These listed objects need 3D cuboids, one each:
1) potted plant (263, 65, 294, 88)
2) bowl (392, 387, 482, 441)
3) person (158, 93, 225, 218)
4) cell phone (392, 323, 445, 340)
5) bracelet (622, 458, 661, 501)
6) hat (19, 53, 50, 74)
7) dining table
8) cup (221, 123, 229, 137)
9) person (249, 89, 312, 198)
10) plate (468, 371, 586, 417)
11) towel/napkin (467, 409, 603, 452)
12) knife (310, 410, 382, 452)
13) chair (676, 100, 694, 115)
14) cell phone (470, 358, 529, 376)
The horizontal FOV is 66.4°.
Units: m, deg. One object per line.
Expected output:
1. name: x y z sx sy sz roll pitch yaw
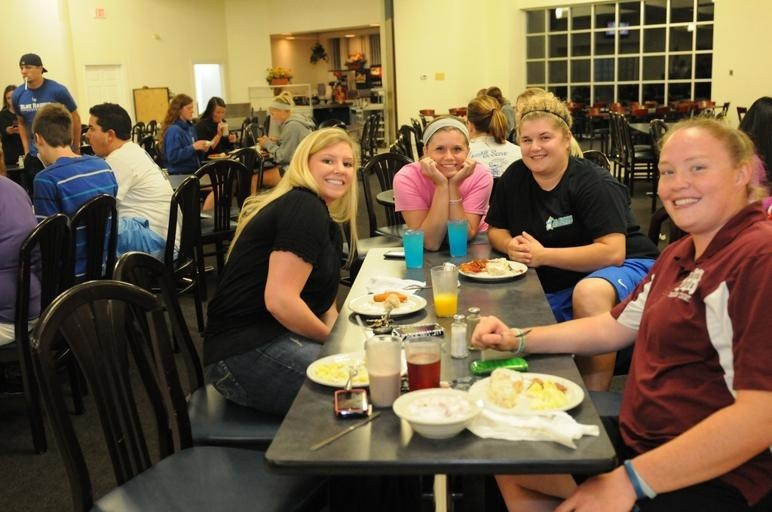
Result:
1. potted plant: -2.225 -3.747 12.257 0.423 0.376 1.225 -4 16 -10
2. bowl: 0.118 0.380 1.409 0.200 0.074 0.137 -1 16 -1
3. person: -2.265 -1.169 7.028 0.797 1.408 0.660 4 19 1
4. cell phone: 0.098 0.229 1.818 0.097 0.022 0.063 -4 8 -21
5. bracelet: 0.609 0.550 1.430 0.036 0.093 0.079 -35 -12 9
6. hat: -4.482 -2.473 7.470 0.219 0.198 0.379 -8 18 -24
7. dining table: 0.161 0.397 1.858 0.781 0.410 1.136 0 16 4
8. cup: -1.999 -1.586 7.348 0.136 0.146 0.132 -4 3 0
9. person: -1.265 -1.248 7.424 0.938 1.532 0.706 -5 14 -2
10. plate: 0.349 0.345 1.468 0.147 0.035 0.154 5 13 33
11. towel/napkin: 0.333 0.402 1.379 0.201 0.039 0.120 1 8 8
12. knife: -0.095 0.419 1.397 0.027 0.004 0.218 27 28 34
13. chair: 5.217 -2.599 10.412 0.286 0.256 0.456 3 16 12
14. cell phone: 0.309 0.296 1.625 0.108 0.024 0.061 -2 7 -3
